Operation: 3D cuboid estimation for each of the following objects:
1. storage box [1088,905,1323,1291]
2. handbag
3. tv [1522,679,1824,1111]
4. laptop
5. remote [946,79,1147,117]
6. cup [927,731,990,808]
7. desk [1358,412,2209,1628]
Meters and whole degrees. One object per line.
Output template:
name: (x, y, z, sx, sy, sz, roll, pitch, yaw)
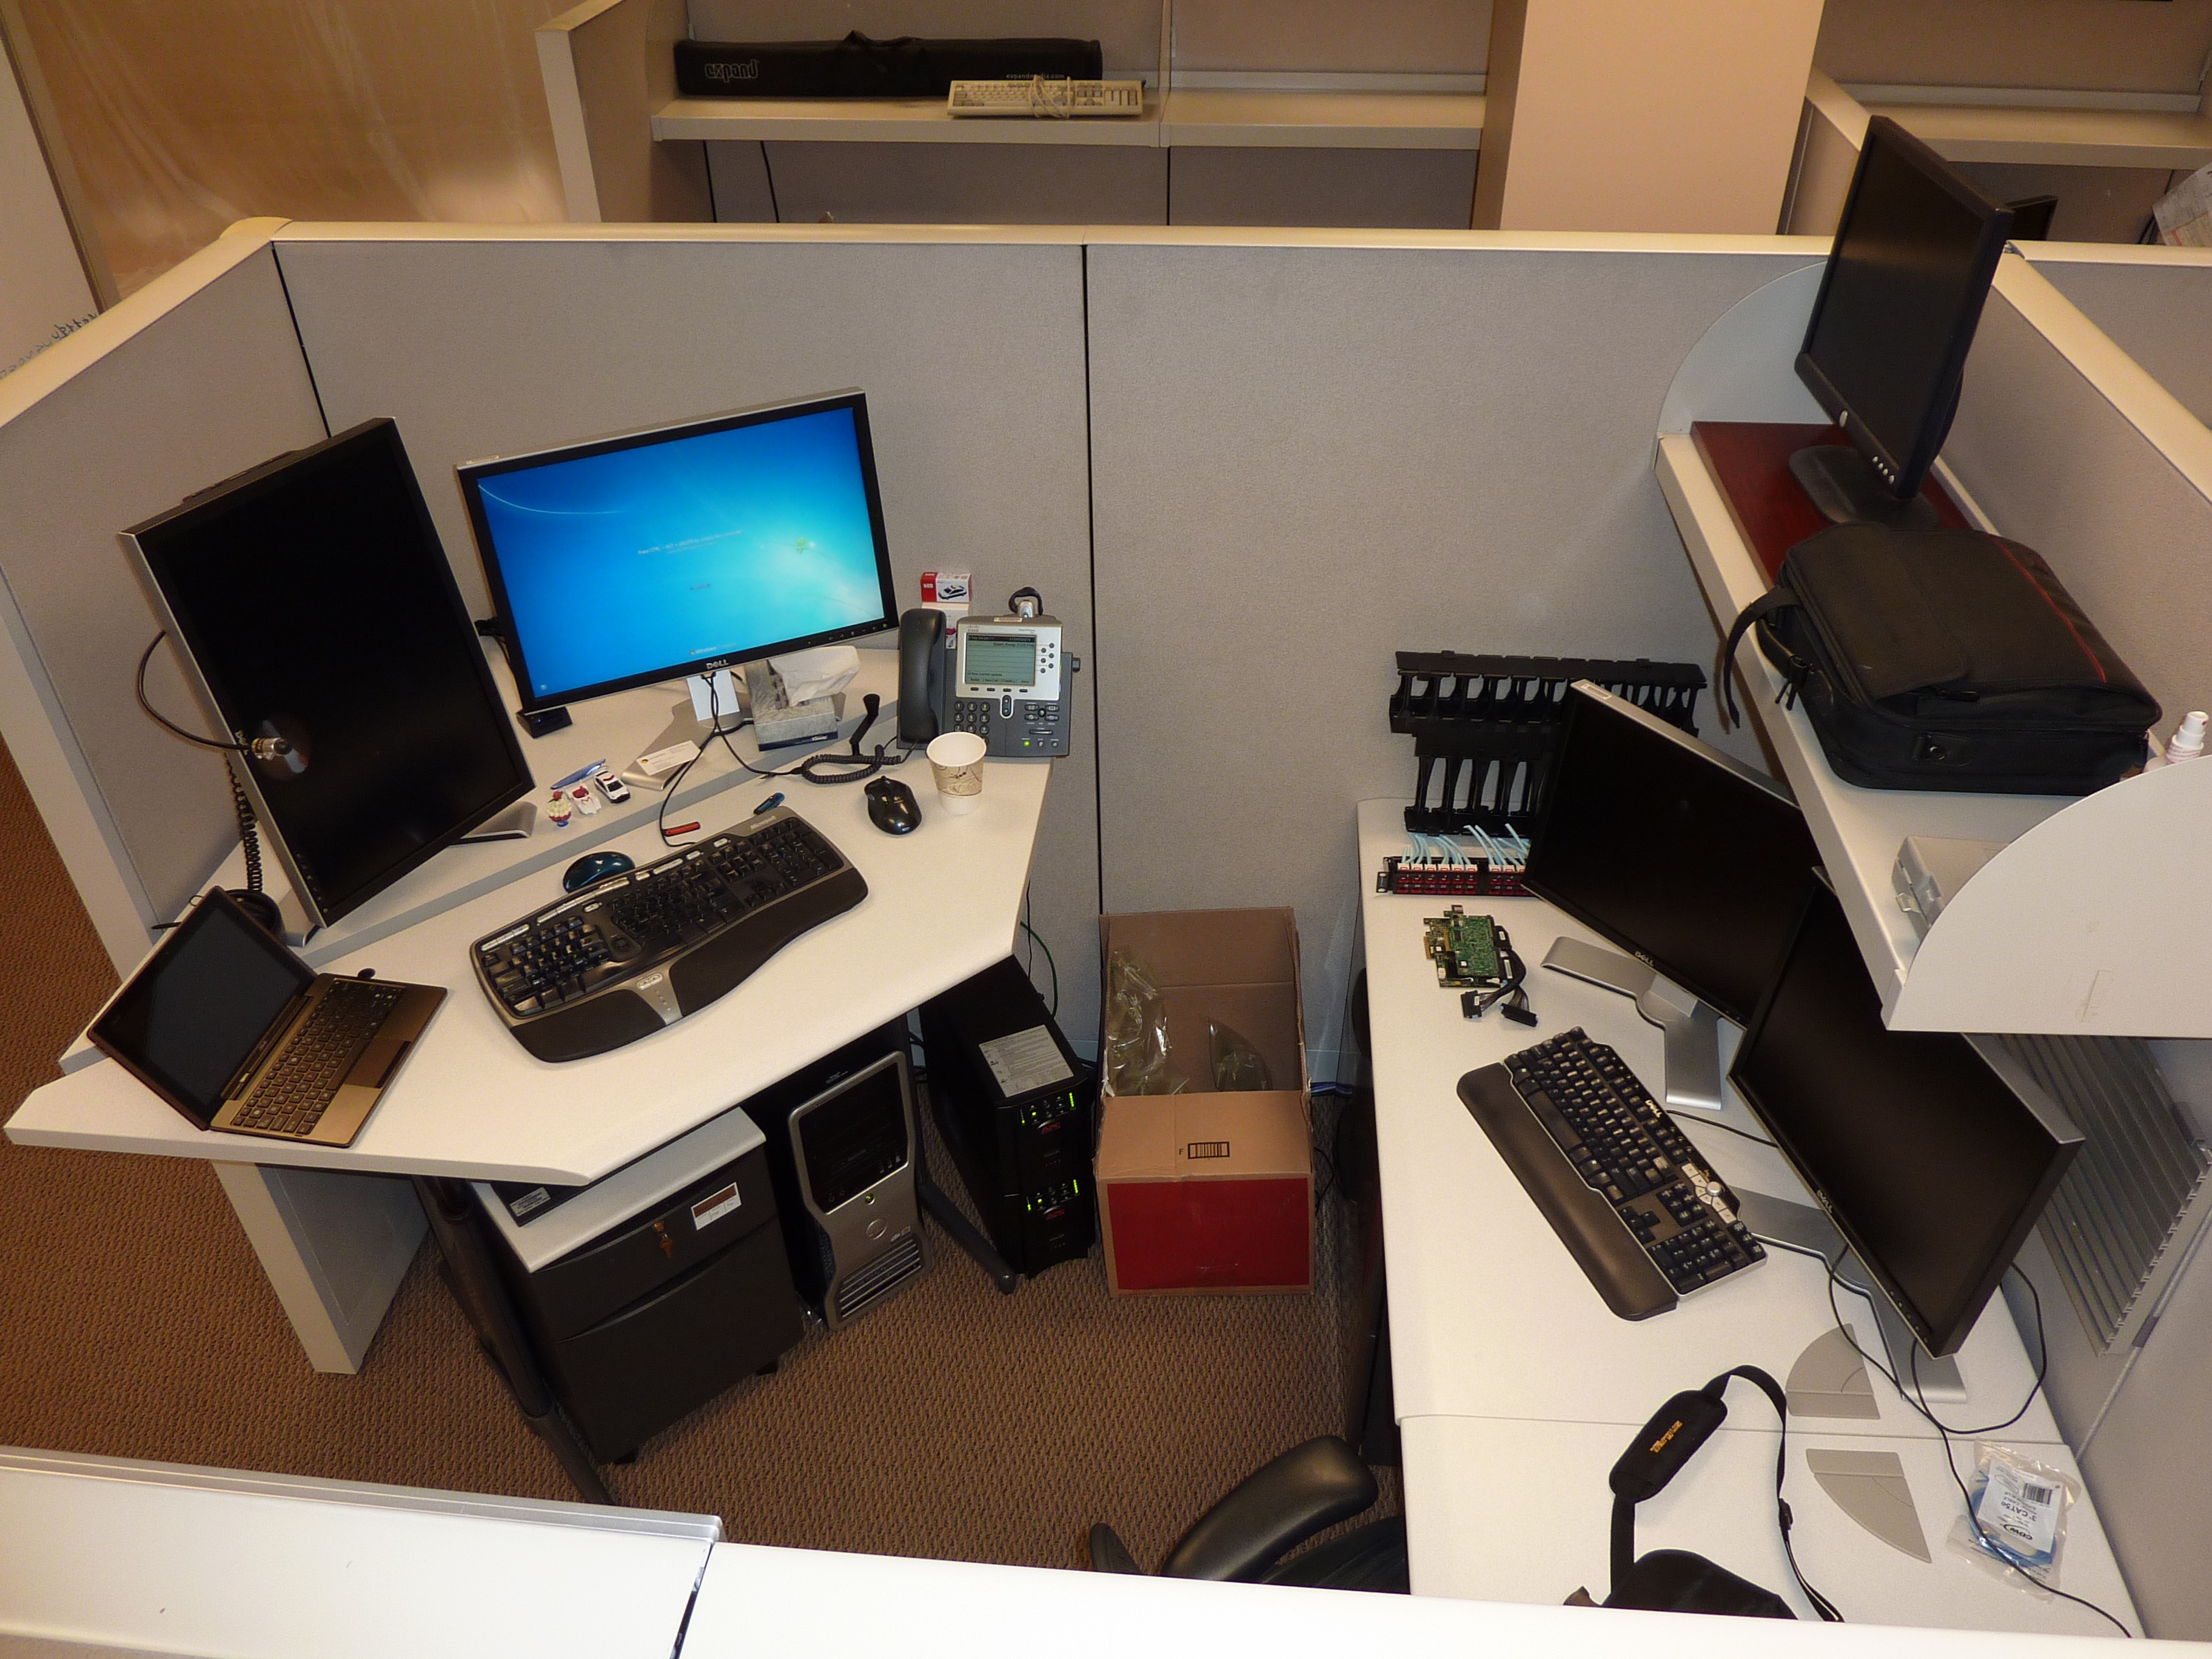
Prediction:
storage box: (0.185, 0.536, 3.215, 0.372, 0.336, 0.753, -2, 40, 4)
handbag: (0.998, -0.173, 1.929, 0.313, 0.121, 0.343, -1, 42, 6)
tv: (0.878, 0.127, 2.545, 0.460, 0.458, 0.293, 20, 50, 17)
laptop: (-1.222, 0.321, 2.399, 0.357, 0.242, 0.398, 4, 50, 6)
remote: (-0.150, -1.877, 4.205, 0.510, 0.080, 0.204, -1, 40, 1)
cup: (-0.250, -0.105, 2.764, 0.096, 0.105, 0.106, 0, 47, 1)
desk: (0.924, 0.285, 2.206, 0.696, 1.094, 1.486, -1, 41, -1)
